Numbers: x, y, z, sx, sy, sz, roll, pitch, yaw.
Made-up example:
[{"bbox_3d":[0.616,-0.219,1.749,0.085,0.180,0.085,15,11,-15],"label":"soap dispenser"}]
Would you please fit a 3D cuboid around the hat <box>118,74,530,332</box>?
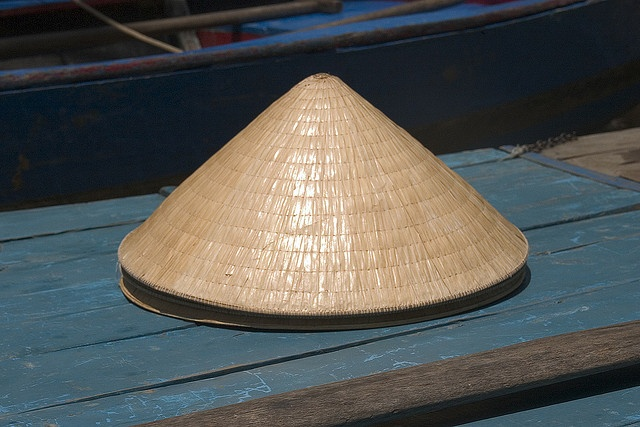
[{"bbox_3d":[-0.004,-0.039,2.540,1.626,0.927,0.701,-7,21,-9],"label":"hat"}]
